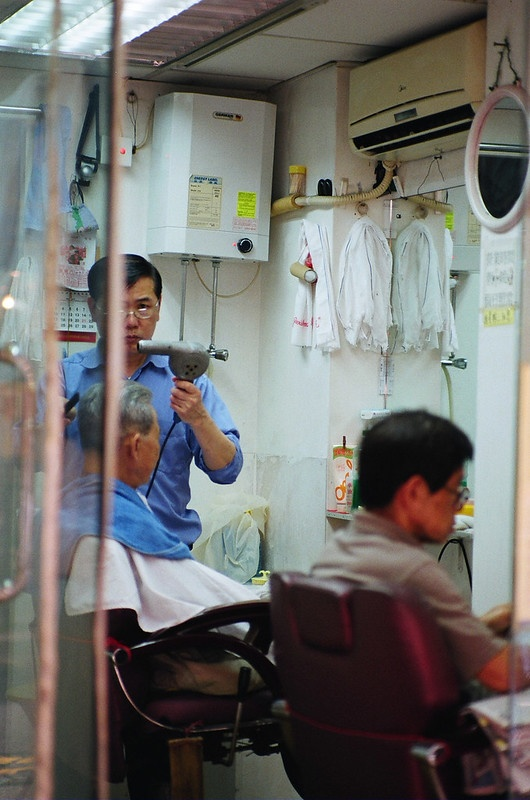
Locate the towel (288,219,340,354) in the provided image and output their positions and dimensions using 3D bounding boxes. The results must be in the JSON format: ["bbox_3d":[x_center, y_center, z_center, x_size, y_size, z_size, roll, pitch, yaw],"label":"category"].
[{"bbox_3d":[0.206,-0.457,2.941,0.166,0.520,0.195,2,0,-17],"label":"towel"}]

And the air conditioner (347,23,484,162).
[{"bbox_3d":[0.520,-1.054,2.534,0.239,0.422,0.669,2,1,-24],"label":"air conditioner"}]

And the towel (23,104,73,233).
[{"bbox_3d":[-0.179,-0.194,0.617,0.061,0.108,0.018,2,0,45],"label":"towel"}]

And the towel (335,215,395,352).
[{"bbox_3d":[0.392,-0.460,2.904,0.214,0.535,0.095,2,0,-25],"label":"towel"}]

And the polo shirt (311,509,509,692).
[{"bbox_3d":[0.196,0.246,1.025,0.331,0.118,0.253,-14,0,-38],"label":"polo shirt"}]

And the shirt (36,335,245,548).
[{"bbox_3d":[-0.225,0.135,1.359,0.329,0.483,0.278,9,0,7],"label":"shirt"}]

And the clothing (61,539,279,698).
[{"bbox_3d":[-0.091,0.375,1.189,0.166,0.147,0.138,13,9,10],"label":"clothing"}]

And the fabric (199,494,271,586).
[{"bbox_3d":[-0.088,0.433,2.267,0.185,0.123,0.272,-14,18,11],"label":"fabric"}]

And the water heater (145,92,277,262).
[{"bbox_3d":[-0.231,-0.928,3.073,0.513,0.685,0.256,2,0,-7],"label":"water heater"}]
